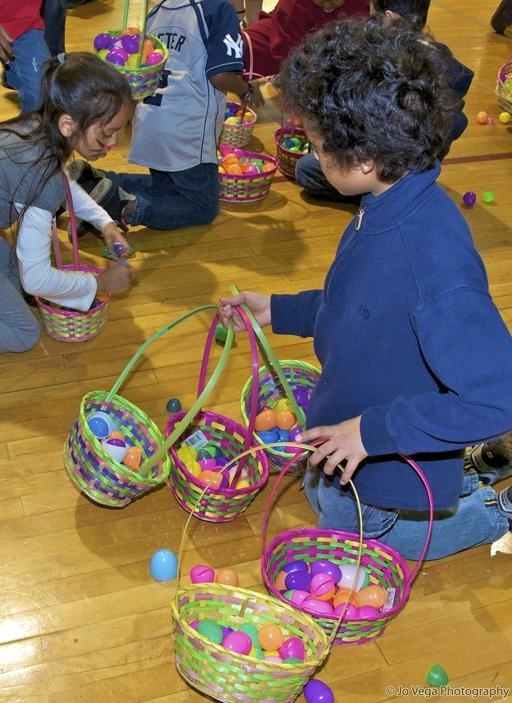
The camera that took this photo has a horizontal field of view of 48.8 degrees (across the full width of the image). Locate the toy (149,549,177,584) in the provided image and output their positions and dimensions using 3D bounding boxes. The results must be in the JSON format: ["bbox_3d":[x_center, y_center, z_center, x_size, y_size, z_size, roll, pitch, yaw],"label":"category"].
[{"bbox_3d":[-0.216,0.501,1.319,0.073,0.053,0.069,3,26,4],"label":"toy"}]

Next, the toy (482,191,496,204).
[{"bbox_3d":[1.309,-0.865,3.193,0.058,0.068,0.055,-12,-8,7],"label":"toy"}]

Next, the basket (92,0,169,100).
[{"bbox_3d":[-0.489,-1.191,2.275,0.296,0.408,0.565,-1,35,-18],"label":"basket"}]
